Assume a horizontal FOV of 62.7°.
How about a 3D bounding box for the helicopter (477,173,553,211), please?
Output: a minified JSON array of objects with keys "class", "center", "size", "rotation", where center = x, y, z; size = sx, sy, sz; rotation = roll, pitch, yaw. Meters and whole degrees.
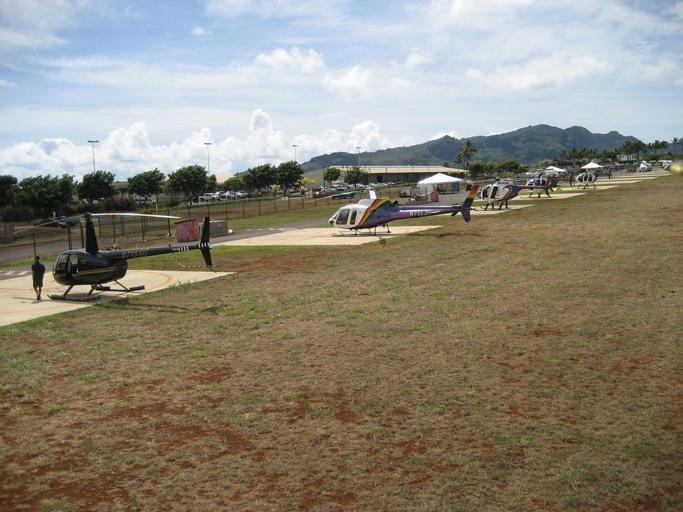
[{"class":"helicopter","center":[22.030,-8.151,70.600],"size":[4.924,3.379,22.028],"rotation":[3,13,30]}]
